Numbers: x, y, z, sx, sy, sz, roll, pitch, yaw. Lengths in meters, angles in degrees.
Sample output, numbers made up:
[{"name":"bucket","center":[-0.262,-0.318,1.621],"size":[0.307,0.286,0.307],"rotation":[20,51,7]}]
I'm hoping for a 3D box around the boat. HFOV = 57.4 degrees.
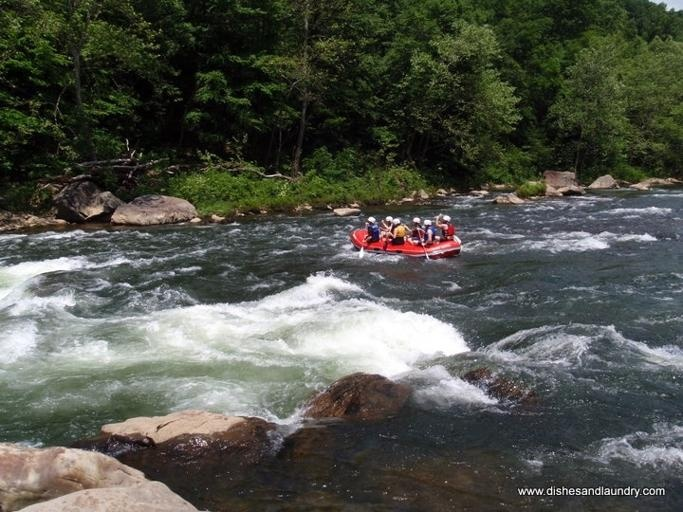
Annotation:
[{"name":"boat","center":[2.147,-0.354,21.049],"size":[3.018,0.444,1.406],"rotation":[4,6,27]}]
